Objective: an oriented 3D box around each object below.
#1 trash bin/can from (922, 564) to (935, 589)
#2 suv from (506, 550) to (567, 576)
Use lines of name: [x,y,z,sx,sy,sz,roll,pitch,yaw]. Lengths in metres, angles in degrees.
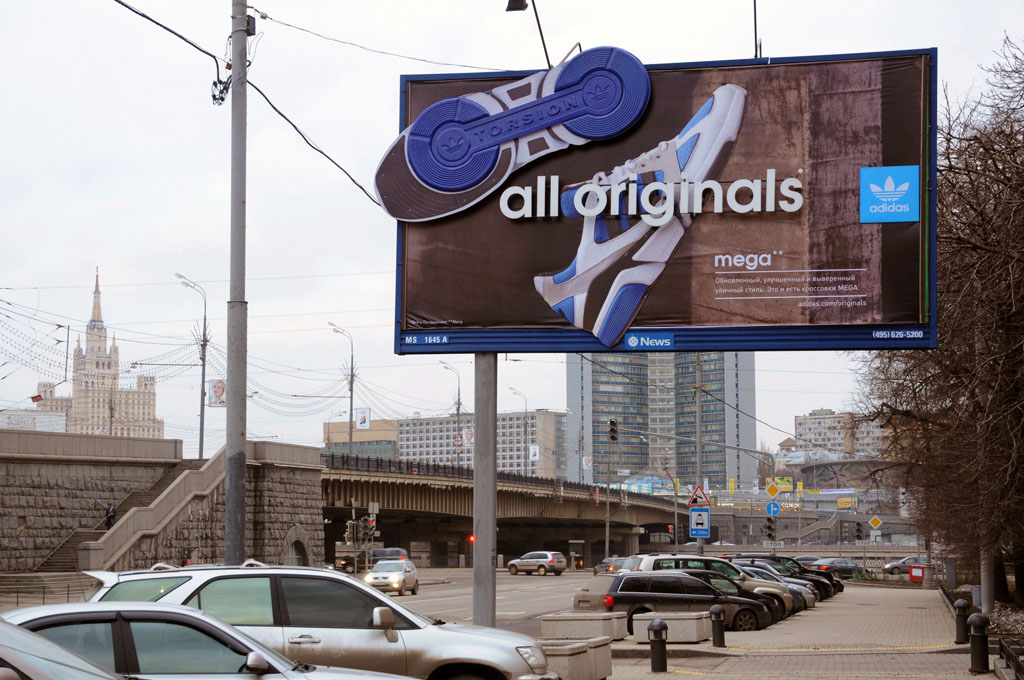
trash bin/can: [18.717,10.709,86.261,0.840,1.194,0.842,2,-8,-5]
suv: [1.341,12.615,107.352,2.707,1.156,1.492,2,-4,20]
